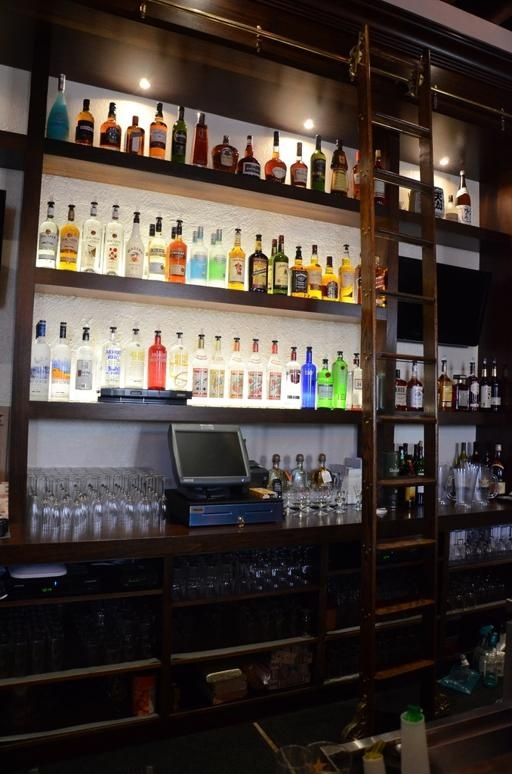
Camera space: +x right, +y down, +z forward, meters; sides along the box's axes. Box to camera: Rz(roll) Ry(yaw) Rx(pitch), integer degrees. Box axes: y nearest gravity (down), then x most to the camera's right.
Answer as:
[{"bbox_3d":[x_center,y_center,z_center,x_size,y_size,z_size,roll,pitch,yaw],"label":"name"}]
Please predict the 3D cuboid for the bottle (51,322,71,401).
[{"bbox_3d":[-0.820,-0.108,2.599,0.086,0.338,0.282,2,-4,-17],"label":"bottle"}]

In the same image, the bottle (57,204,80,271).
[{"bbox_3d":[-0.784,-0.631,2.590,0.086,0.358,0.307,2,-4,-18],"label":"bottle"}]

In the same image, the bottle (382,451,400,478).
[{"bbox_3d":[0.698,0.386,3.163,0.095,0.158,0.132,0,-3,15],"label":"bottle"}]

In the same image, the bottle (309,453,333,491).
[{"bbox_3d":[0.326,0.435,3.125,0.131,0.259,0.135,0,-11,0],"label":"bottle"}]

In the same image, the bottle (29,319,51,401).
[{"bbox_3d":[-0.886,-0.110,2.539,0.075,0.340,0.290,2,-4,-19],"label":"bottle"}]

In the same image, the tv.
[{"bbox_3d":[-0.188,0.307,2.591,0.356,0.299,0.213,2,-4,-22],"label":"tv"}]
